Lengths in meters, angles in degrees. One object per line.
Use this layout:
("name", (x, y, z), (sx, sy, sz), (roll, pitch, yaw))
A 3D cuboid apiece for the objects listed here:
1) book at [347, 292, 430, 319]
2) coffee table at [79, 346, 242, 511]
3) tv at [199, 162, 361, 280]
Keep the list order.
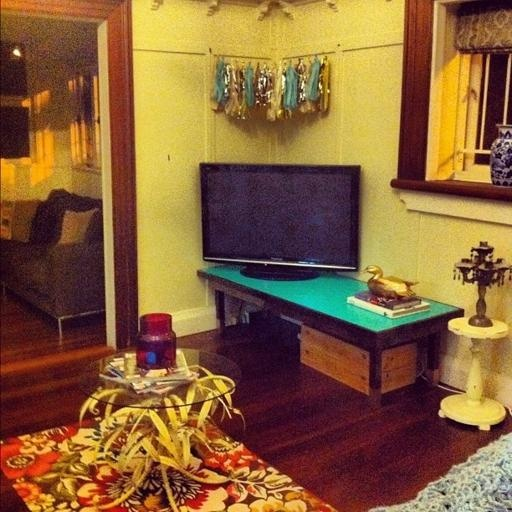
("book", (0.766, 0.271, 2.688), (0.195, 0.042, 0.212), (-10, 18, -32))
("coffee table", (-0.373, 0.604, 1.983), (0.595, 0.500, 0.589), (-1, 7, -10))
("tv", (0.196, -0.256, 3.331), (0.820, 0.557, 0.263), (3, 11, 19))
